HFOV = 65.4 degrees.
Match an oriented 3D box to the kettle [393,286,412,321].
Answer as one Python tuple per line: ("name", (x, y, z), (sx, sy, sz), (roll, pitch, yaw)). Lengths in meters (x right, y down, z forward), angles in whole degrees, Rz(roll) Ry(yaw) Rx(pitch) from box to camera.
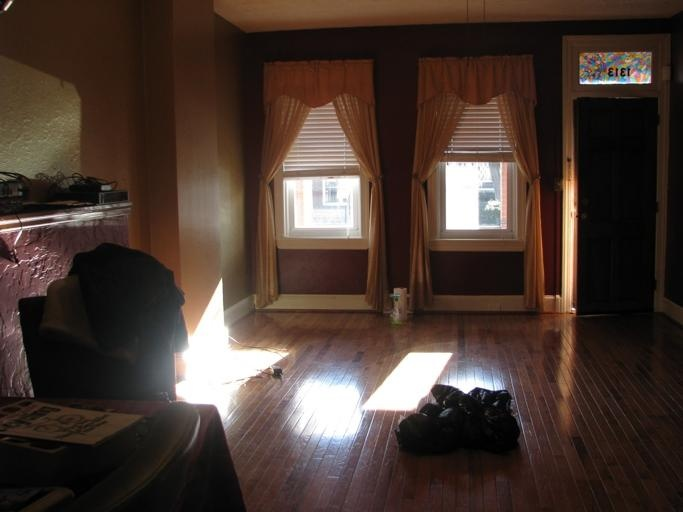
("kettle", (0.681, 0.530, 6.049), (0.199, 0.359, 0.428), (0, 7, 14))

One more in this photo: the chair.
("chair", (-1.236, 0.510, 2.914), (0.546, 0.891, 0.564), (-2, -1, 5))
